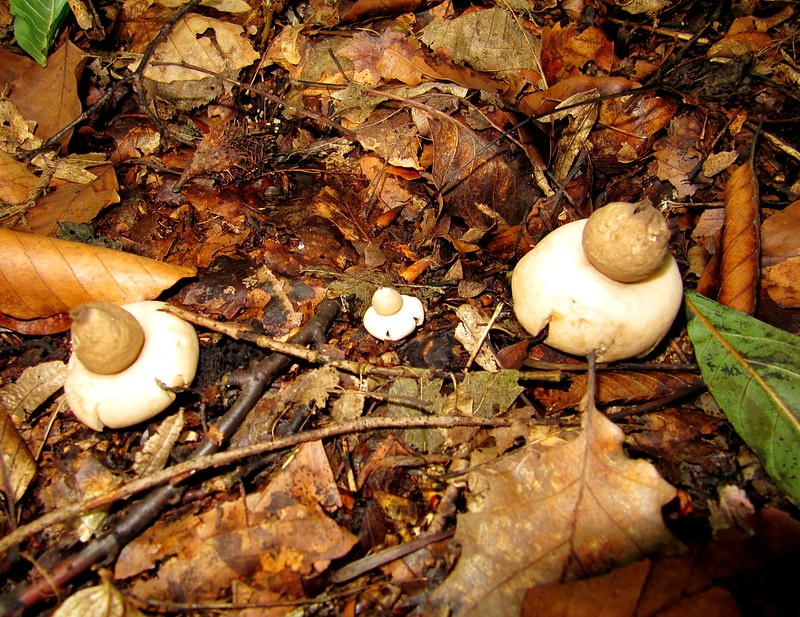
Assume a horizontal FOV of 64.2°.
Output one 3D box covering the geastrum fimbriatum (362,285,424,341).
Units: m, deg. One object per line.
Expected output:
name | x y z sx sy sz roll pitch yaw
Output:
geastrum fimbriatum | -0.111 -0.004 5.059 0.474 0.467 0.295 11 -63 -21
